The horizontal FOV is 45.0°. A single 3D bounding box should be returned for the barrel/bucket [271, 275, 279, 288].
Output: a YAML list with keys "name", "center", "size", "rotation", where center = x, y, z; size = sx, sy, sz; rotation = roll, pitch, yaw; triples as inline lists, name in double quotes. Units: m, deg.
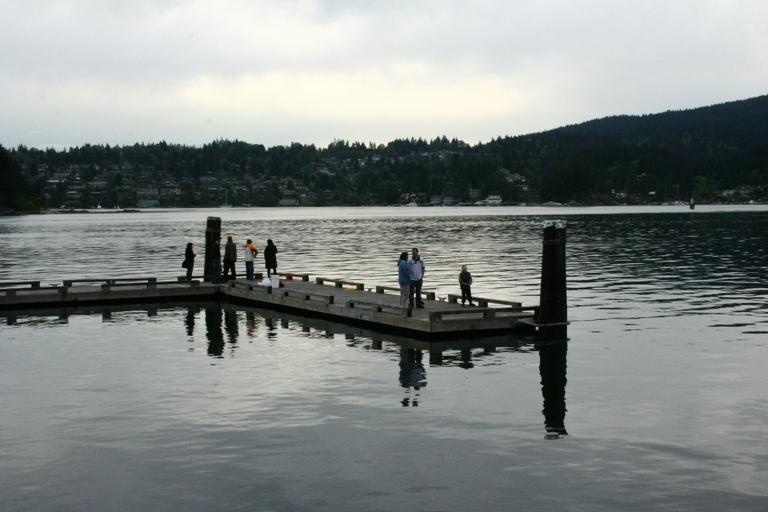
- name: "barrel/bucket"
  center: [-5.520, 1.294, 47.189]
  size: [0.599, 0.552, 0.564]
  rotation: [0, 2, 0]
